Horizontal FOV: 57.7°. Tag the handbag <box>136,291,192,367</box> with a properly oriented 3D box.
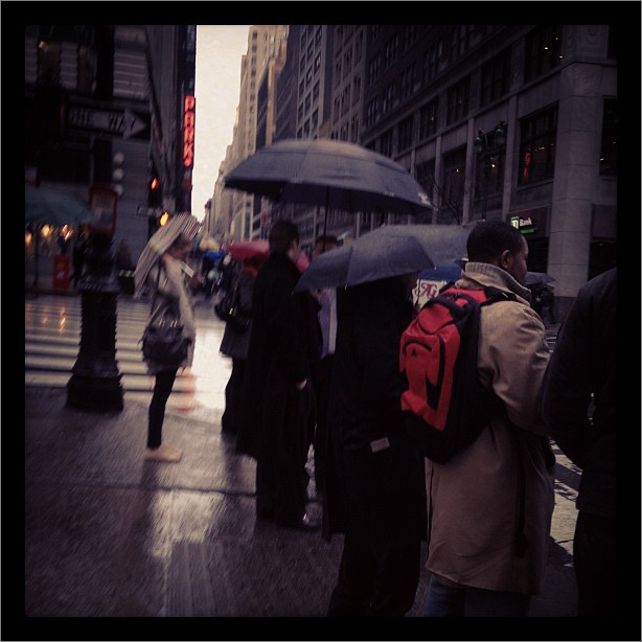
[{"bbox_3d":[-1.456,0.062,5.348,0.406,0.913,0.544,-1,1,-14],"label":"handbag"}]

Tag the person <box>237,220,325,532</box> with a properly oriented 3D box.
[{"bbox_3d":[-0.311,0.409,4.243,0.579,2.259,0.379,1,5,-1],"label":"person"}]

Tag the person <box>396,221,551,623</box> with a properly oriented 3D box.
[{"bbox_3d":[0.679,0.623,2.467,0.574,2.070,0.635,5,12,25],"label":"person"}]

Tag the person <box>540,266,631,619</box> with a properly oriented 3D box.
[{"bbox_3d":[0.938,0.463,2.025,0.321,1.272,0.189,-1,5,-22],"label":"person"}]

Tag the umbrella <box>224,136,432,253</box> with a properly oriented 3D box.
[{"bbox_3d":[0.041,-0.853,4.732,1.377,1.133,1.600,1,6,-32],"label":"umbrella"}]

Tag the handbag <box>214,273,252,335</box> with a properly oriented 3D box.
[{"bbox_3d":[-0.963,-0.226,6.536,0.302,0.655,0.596,25,-4,-18],"label":"handbag"}]
